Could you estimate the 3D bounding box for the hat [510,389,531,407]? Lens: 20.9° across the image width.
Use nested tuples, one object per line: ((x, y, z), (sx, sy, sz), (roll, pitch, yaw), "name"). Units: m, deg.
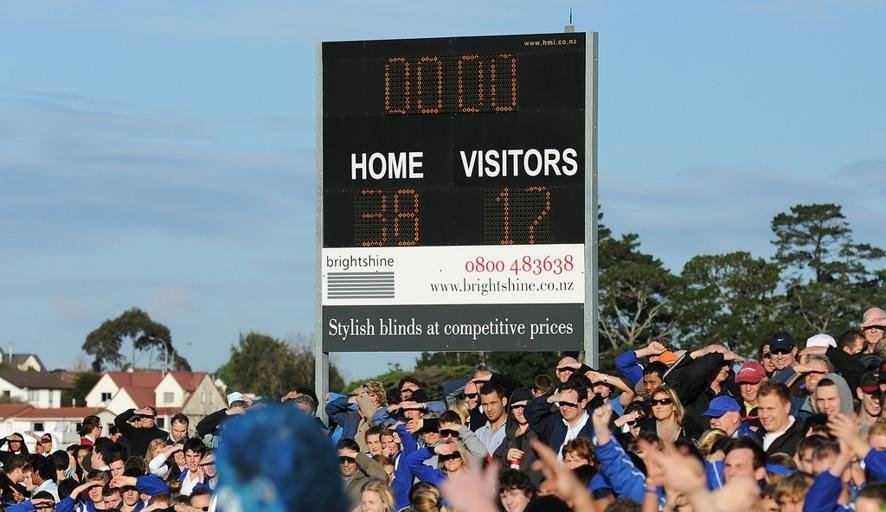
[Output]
((3.998, 7.418, 127.281), (0.856, 0.956, 0.923), (-2, 15, 3), "hat")
